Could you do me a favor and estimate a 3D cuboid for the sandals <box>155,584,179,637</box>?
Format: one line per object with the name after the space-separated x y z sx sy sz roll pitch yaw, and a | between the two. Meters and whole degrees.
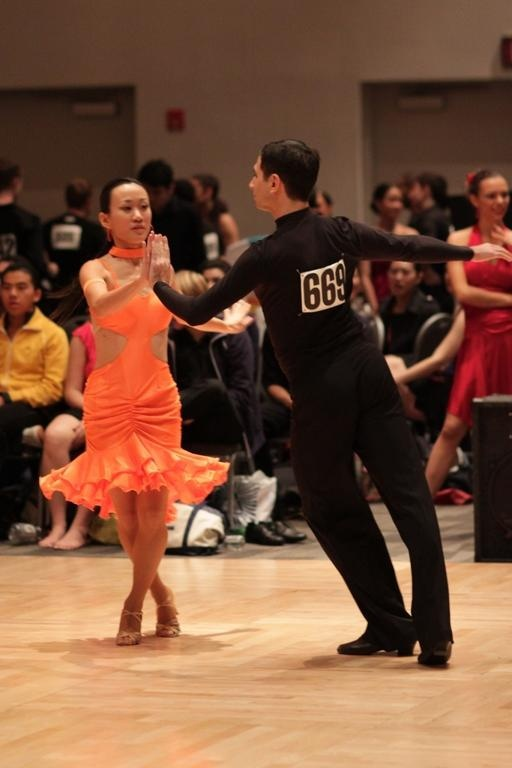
-0.299 0.739 2.505 0.071 0.068 0.171 -15 36 -1 | sandals

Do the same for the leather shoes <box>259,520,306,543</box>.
0.158 0.826 4.273 0.274 0.093 0.096 15 19 20 | leather shoes

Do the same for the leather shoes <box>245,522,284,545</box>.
0.038 0.850 4.287 0.263 0.104 0.087 -1 2 32 | leather shoes

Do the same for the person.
0.199 0.060 2.131 0.868 1.442 0.326 -1 -5 -14 | person
